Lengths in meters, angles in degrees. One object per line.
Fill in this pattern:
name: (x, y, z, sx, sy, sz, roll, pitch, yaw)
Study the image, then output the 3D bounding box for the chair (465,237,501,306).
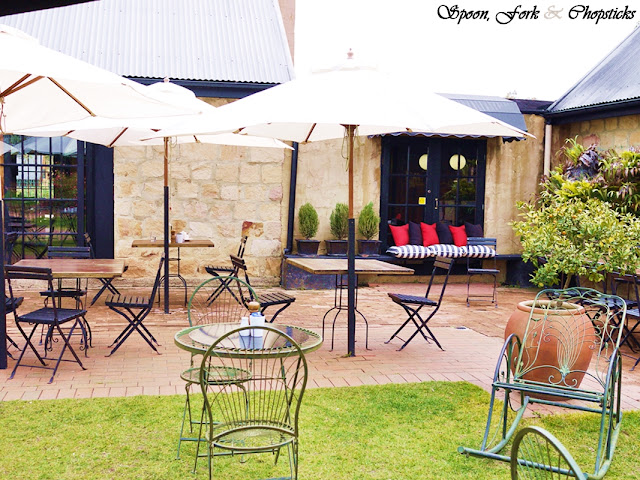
chair: (2.879, 0.521, 12.004, 0.638, 1.079, 0.721, 4, -10, 0)

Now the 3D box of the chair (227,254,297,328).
chair: (-0.637, 0.594, 7.433, 0.612, 0.776, 0.608, -3, 6, -13)

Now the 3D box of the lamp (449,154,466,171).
lamp: (2.544, -1.425, 12.525, 0.277, 0.299, 0.291, -2, -2, -33)

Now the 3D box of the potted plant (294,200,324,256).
potted plant: (-0.210, -0.198, 11.327, 0.474, 0.860, 0.437, -1, -1, 20)

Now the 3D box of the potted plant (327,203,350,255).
potted plant: (0.361, -0.193, 11.500, 0.491, 0.882, 0.429, 4, 0, -16)

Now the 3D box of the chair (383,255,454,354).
chair: (1.140, 0.725, 7.921, 0.700, 1.056, 0.713, 0, 3, -15)

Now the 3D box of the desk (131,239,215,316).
desk: (-2.114, 0.298, 9.463, 0.715, 0.609, 0.755, 15, 19, 6)

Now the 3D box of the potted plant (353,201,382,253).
potted plant: (0.876, -0.230, 11.750, 0.486, 0.902, 0.511, 1, 2, -35)

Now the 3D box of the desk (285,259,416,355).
desk: (0.217, 0.738, 7.970, 1.217, 0.710, 1.204, 16, 4, -35)
